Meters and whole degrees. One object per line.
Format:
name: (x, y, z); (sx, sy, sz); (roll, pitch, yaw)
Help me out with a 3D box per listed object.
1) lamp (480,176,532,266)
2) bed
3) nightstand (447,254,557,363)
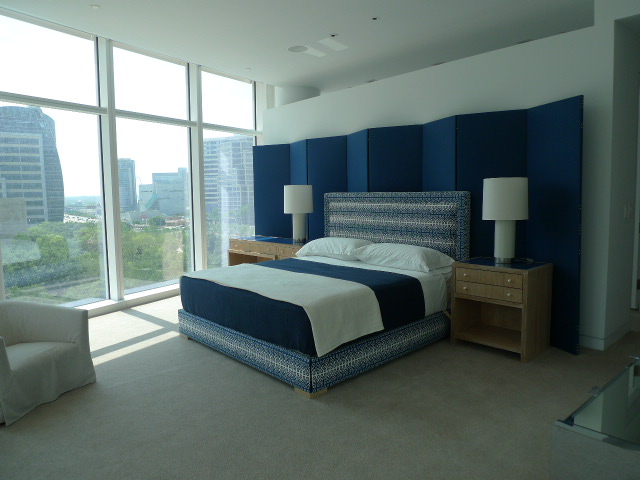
lamp: (1.907, -0.210, 4.847); (0.425, 0.856, 0.247); (-6, 9, -10)
bed: (0.258, 0.450, 5.239); (2.223, 1.570, 2.593); (4, 6, 44)
nightstand: (1.860, 0.662, 4.906); (0.823, 0.923, 0.670); (3, 12, 40)
